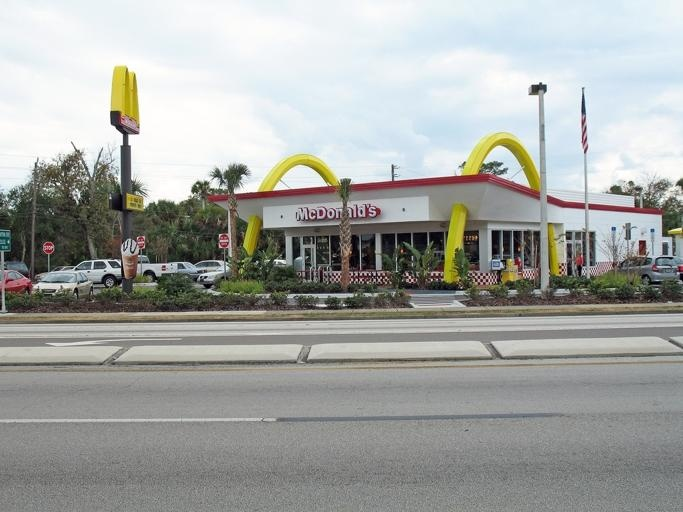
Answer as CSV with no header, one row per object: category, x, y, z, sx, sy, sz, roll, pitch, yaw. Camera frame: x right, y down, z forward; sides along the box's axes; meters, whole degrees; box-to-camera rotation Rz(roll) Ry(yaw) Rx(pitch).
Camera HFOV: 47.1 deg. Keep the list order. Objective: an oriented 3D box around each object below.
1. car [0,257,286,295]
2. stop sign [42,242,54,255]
car,-9.331,1.035,37.803,6.589,1.644,1.639,1,-3,2
stop sign,-18.288,-0.479,48.876,0.804,1.089,0.109,-1,-6,9
